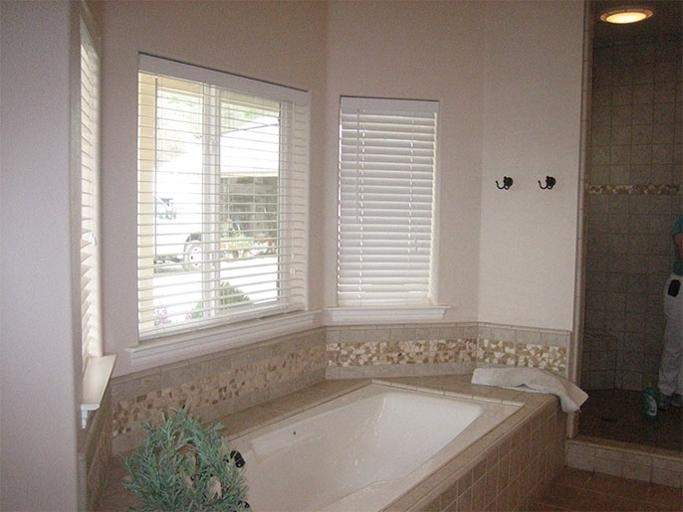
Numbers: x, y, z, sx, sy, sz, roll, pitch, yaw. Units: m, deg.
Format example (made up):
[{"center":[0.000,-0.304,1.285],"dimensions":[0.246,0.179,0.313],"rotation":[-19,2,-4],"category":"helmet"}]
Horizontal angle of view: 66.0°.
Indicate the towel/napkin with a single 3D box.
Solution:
[{"center":[1.285,0.865,3.593],"dimensions":[0.593,0.186,0.371],"rotation":[-2,5,21],"category":"towel/napkin"}]
